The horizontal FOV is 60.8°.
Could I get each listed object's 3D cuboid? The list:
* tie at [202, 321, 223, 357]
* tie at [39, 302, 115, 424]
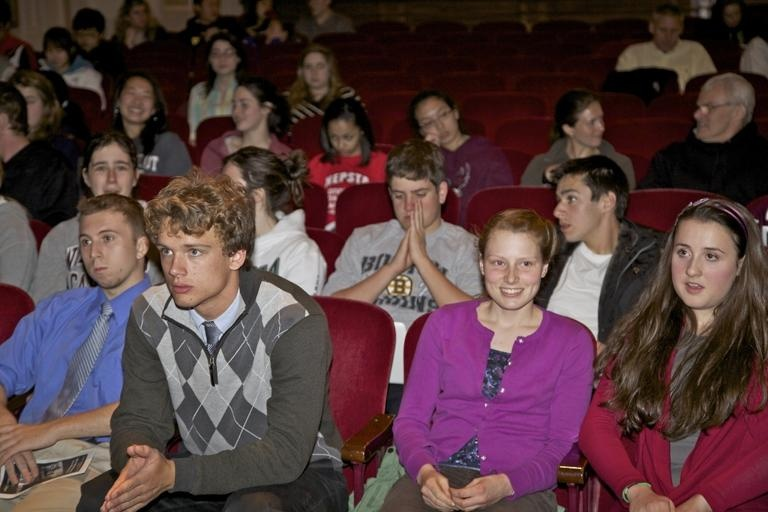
[{"bbox_3d":[-0.626,0.298,2.374,0.081,0.108,0.038,0,-10,6],"label":"tie"},{"bbox_3d":[-1.275,0.439,2.715,0.259,0.490,0.099,1,7,-27],"label":"tie"}]
